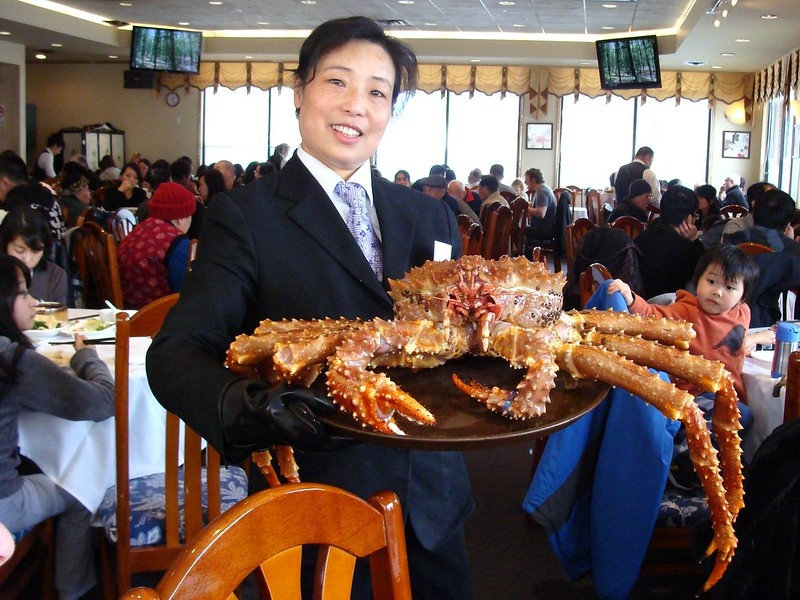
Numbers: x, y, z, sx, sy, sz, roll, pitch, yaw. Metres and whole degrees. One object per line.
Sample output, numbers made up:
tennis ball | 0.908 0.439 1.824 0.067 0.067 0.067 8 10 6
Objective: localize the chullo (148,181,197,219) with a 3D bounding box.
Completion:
chullo | -1.359 -0.599 3.562 0.261 0.189 0.194 -11 31 -25

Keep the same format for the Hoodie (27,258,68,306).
Hoodie | -1.676 -0.078 2.801 0.222 0.251 0.124 -2 -2 -36

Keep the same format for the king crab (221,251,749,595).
king crab | 0.136 0.188 0.976 0.911 0.443 0.385 4 8 3

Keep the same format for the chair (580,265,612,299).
chair | 0.785 -0.069 2.391 0.090 0.177 0.095 -10 29 -17

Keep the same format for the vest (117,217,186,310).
vest | -1.441 -0.207 3.316 0.348 0.470 0.259 13 13 25

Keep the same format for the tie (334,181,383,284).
tie | -0.089 -0.139 1.208 0.103 0.190 0.151 2 11 -9

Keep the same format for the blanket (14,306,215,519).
blanket | -0.881 0.364 1.925 0.573 0.320 0.549 -3 24 -19

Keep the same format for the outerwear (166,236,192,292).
outerwear | -1.032 -0.183 2.753 0.099 0.300 0.208 7 19 -10
